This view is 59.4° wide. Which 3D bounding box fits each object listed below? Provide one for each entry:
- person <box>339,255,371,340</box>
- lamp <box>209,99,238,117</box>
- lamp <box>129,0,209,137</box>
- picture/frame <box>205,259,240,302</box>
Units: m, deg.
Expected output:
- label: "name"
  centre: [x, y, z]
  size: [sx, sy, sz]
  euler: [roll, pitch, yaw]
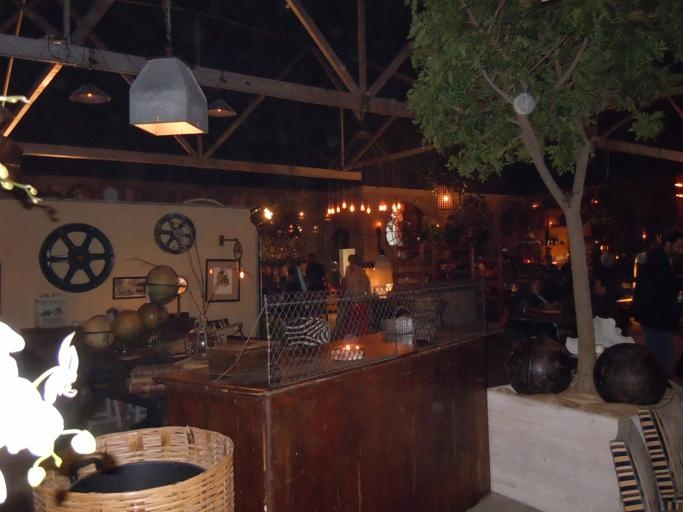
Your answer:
- label: "person"
  centre: [0.137, 0.372, 5.007]
  size: [0.249, 0.970, 0.288]
  euler: [-6, 34, -12]
- label: "lamp"
  centre: [-1.656, -2.108, 8.352]
  size: [0.308, 0.286, 0.454]
  euler: [-3, -5, 5]
- label: "lamp"
  centre: [-1.377, -1.605, 4.812]
  size: [0.589, 1.380, 0.920]
  euler: [-1, -4, -17]
- label: "picture/frame"
  centre: [-1.949, 0.396, 9.875]
  size: [0.635, 0.956, 0.056]
  euler: [-2, 28, -15]
